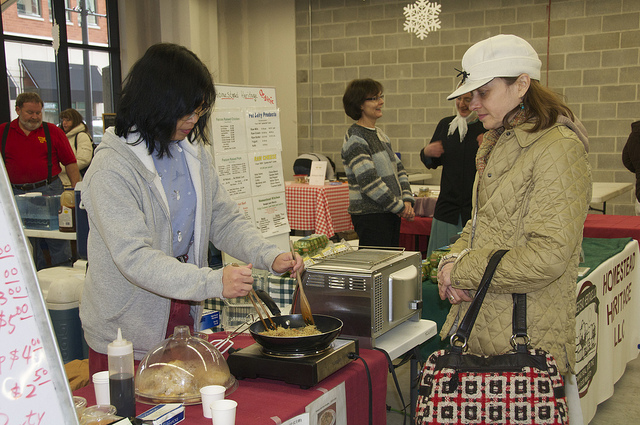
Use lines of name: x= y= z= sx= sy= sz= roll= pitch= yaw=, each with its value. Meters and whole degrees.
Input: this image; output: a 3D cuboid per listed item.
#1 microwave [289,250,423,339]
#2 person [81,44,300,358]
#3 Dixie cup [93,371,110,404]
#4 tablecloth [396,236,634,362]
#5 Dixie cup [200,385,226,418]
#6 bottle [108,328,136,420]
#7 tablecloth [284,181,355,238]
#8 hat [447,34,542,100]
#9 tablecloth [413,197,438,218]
microwave: x=0.204 y=0.366 z=2.327 sx=0.465 sy=0.354 sz=0.586 roll=2 pitch=3 yaw=35
person: x=-0.491 y=-0.025 z=1.813 sx=0.704 sy=1.177 sz=0.609 roll=-10 pitch=16 yaw=-40
Dixie cup: x=-0.653 y=0.531 z=1.459 sx=0.042 sy=0.100 sz=0.088 roll=-6 pitch=14 yaw=-27
tablecloth: x=1.239 y=0.489 z=3.043 sx=1.137 sy=0.291 sz=1.184 roll=-2 pitch=8 yaw=33
Dixie cup: x=-0.319 y=0.570 z=1.472 sx=0.080 sy=0.070 sz=0.088 roll=0 pitch=-4 yaw=0
bottle: x=-0.581 y=0.491 z=1.421 sx=0.072 sy=0.265 sz=0.117 roll=-5 pitch=14 yaw=-24
tablecloth: x=0.025 y=-0.102 z=6.416 sx=1.064 sy=0.435 sz=1.080 roll=0 pitch=7 yaw=12
hat: x=0.681 y=-0.596 z=1.943 sx=0.403 sy=0.215 sz=0.283 roll=-10 pitch=9 yaw=1
tablecloth: x=1.213 y=-0.113 z=5.546 sx=0.310 sy=0.167 sz=0.319 roll=1 pitch=3 yaw=6
